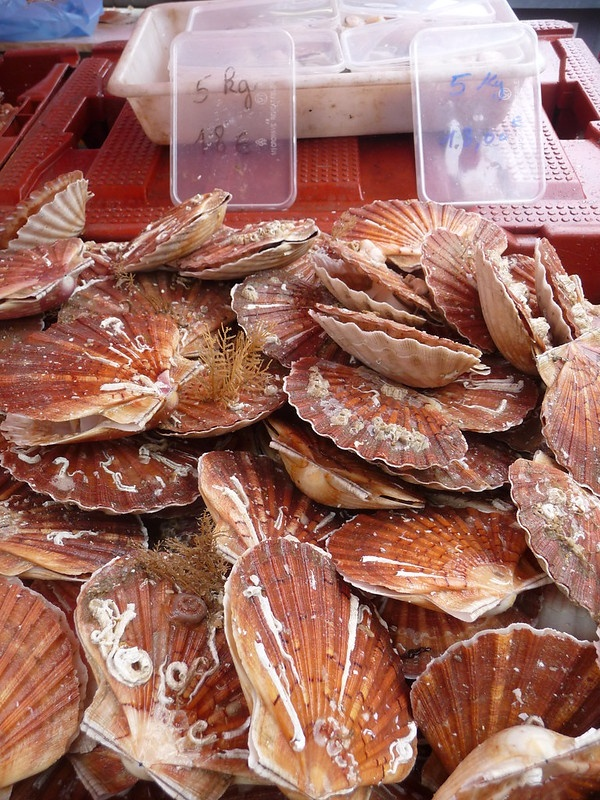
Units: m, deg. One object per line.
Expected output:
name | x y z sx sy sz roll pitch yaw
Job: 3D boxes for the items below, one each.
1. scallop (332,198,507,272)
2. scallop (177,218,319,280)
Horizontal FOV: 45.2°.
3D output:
scallop | 0.187 -0.255 1.123 0.228 0.042 0.143 -12 45 -12
scallop | -0.064 -0.240 1.105 0.125 0.044 0.156 6 25 37
